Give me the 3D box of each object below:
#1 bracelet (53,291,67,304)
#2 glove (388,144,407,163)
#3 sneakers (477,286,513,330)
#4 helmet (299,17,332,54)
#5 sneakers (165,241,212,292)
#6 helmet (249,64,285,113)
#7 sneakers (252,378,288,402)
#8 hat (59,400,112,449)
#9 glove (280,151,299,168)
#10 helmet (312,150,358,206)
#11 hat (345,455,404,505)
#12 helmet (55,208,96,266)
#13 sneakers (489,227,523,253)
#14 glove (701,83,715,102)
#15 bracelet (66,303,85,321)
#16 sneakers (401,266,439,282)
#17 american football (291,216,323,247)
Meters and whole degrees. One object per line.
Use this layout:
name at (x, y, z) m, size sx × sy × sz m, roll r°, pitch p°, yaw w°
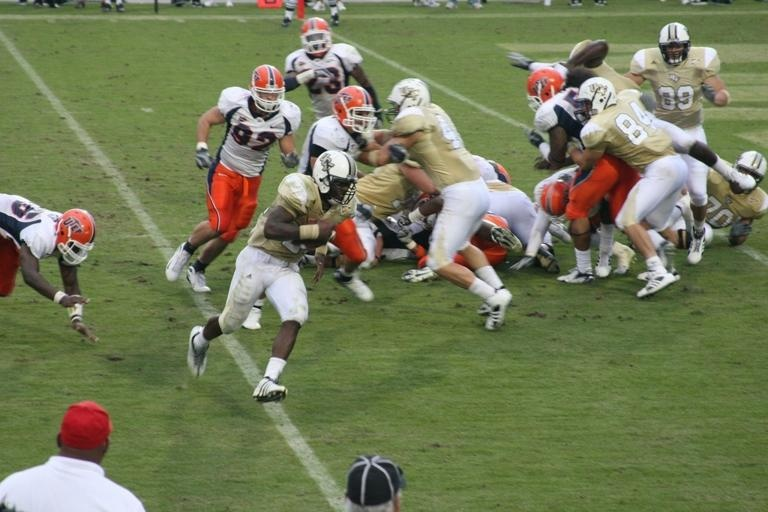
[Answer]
bracelet at (-2.769, 0.347, 9.806) m, size 0.089 × 0.109 × 0.120 m, roll 44°, pitch -2°, yaw 8°
glove at (0.109, -0.943, 10.458) m, size 0.201 × 0.133 × 0.187 m, roll -1°, pitch -6°, yaw -11°
sneakers at (0.993, 0.463, 10.337) m, size 0.258 × 0.428 × 0.162 m, roll 2°, pitch 52°, yaw -2°
helmet at (-0.747, -2.462, 12.829) m, size 0.420 × 0.308 × 0.457 m, roll -2°, pitch 17°, yaw 1°
sneakers at (-1.889, 0.115, 11.065) m, size 0.196 × 0.543 × 0.261 m, roll -50°, pitch 15°, yaw -22°
helmet at (-1.105, -1.555, 10.774) m, size 0.303 × 0.473 × 0.251 m, roll 4°, pitch 32°, yaw -7°
sneakers at (-0.909, 1.079, 9.085) m, size 0.238 × 0.260 × 0.152 m, roll 7°, pitch 32°, yaw -1°
hat at (-1.894, 1.065, 7.296) m, size 0.318 × 0.119 × 0.333 m, roll 7°, pitch 22°, yaw -7°
glove at (-0.893, -0.952, 11.216) m, size 0.144 × 0.162 × 0.091 m, roll -20°, pitch 16°, yaw 40°
helmet at (-0.414, -0.626, 9.409) m, size 0.355 × 0.471 × 0.260 m, roll 14°, pitch 33°, yaw 11°
hat at (-0.076, 1.451, 7.379) m, size 0.328 × 0.177 × 0.355 m, roll 5°, pitch 26°, yaw 10°
helmet at (-2.671, -0.156, 9.914) m, size 0.314 × 0.484 × 0.288 m, roll 0°, pitch 33°, yaw -14°
sneakers at (1.247, -0.167, 11.283) m, size 0.385 × 0.178 × 0.083 m, roll 20°, pitch 58°, yaw 9°
glove at (3.454, -1.726, 12.131) m, size 0.069 × 0.184 × 0.153 m, roll -36°, pitch 4°, yaw -18°
bracelet at (-2.670, 0.483, 9.985) m, size 0.220 × 0.155 × 0.209 m, roll 1°, pitch -11°, yaw -11°
sneakers at (0.335, 0.181, 11.401) m, size 0.428 × 0.142 × 0.113 m, roll -9°, pitch 49°, yaw 4°
american football at (-0.636, -0.164, 9.330) m, size 0.244 × 0.234 × 0.139 m, roll -12°, pitch 37°, yaw -30°
